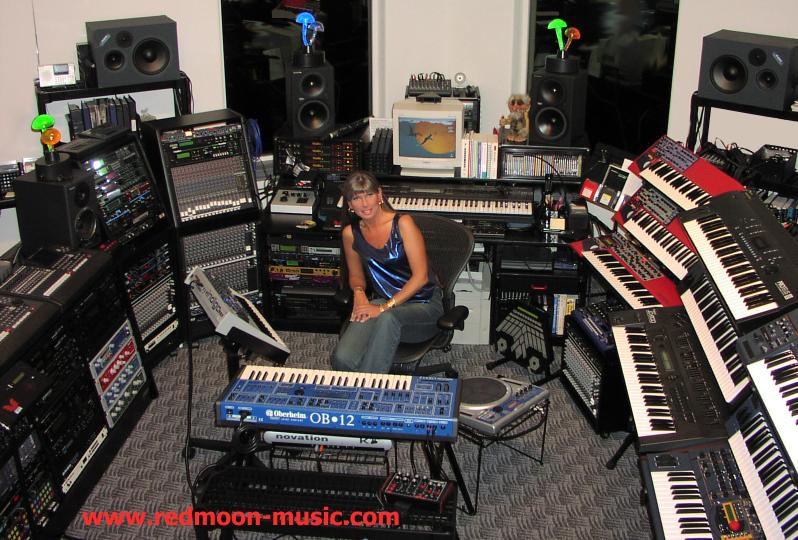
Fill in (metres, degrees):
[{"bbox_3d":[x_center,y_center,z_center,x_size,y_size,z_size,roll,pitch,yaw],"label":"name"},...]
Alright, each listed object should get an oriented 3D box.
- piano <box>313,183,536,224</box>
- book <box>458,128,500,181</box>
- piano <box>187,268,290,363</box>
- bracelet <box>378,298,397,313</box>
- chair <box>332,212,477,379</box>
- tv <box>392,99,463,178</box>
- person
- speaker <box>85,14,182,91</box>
[{"bbox_3d":[0.548,-0.621,5.967,1.541,0.268,0.461,1,15,-21],"label":"piano"},{"bbox_3d":[0.763,-1.071,5.883,0.340,0.405,0.224,1,25,7],"label":"book"},{"bbox_3d":[-1.113,0.344,4.336,0.461,0.596,0.647,-19,30,-31],"label":"piano"},{"bbox_3d":[-0.089,0.277,4.864,0.122,0.032,0.087,-43,28,-28],"label":"bracelet"},{"bbox_3d":[0.027,0.390,4.933,0.950,1.441,1.005,10,26,21],"label":"chair"},{"bbox_3d":[0.237,-1.136,5.984,0.650,0.681,0.514,1,-8,-7],"label":"tv"},{"bbox_3d":[-0.087,-0.007,4.784,0.839,1.365,0.892,0,25,4],"label":"person"},{"bbox_3d":[-2.195,-1.832,5.413,0.717,0.477,0.396,-3,9,9],"label":"speaker"}]
